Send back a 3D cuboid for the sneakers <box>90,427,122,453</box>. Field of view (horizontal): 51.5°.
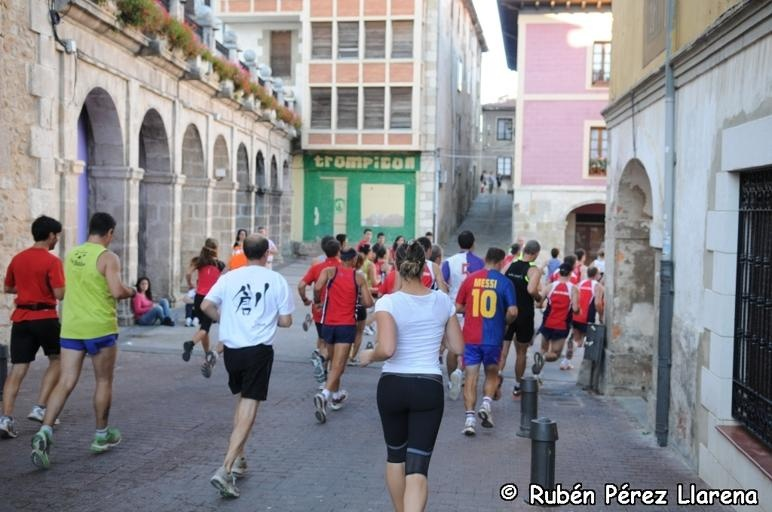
[{"bbox_3d":[-3.683,2.387,10.498,0.177,0.234,0.455,6,14,16],"label":"sneakers"}]

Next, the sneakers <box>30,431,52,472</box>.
[{"bbox_3d":[-4.222,2.358,9.806,0.183,0.520,0.234,-8,9,-16],"label":"sneakers"}]

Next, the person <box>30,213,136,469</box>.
[{"bbox_3d":[-3.819,1.017,10.194,1.123,3.079,0.805,-1,6,-26],"label":"person"}]

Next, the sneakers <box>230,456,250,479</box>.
[{"bbox_3d":[-1.808,2.628,9.872,0.104,0.140,0.283,2,1,5],"label":"sneakers"}]

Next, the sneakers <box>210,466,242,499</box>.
[{"bbox_3d":[-1.857,2.689,9.399,0.200,0.259,0.484,-13,-41,29],"label":"sneakers"}]
